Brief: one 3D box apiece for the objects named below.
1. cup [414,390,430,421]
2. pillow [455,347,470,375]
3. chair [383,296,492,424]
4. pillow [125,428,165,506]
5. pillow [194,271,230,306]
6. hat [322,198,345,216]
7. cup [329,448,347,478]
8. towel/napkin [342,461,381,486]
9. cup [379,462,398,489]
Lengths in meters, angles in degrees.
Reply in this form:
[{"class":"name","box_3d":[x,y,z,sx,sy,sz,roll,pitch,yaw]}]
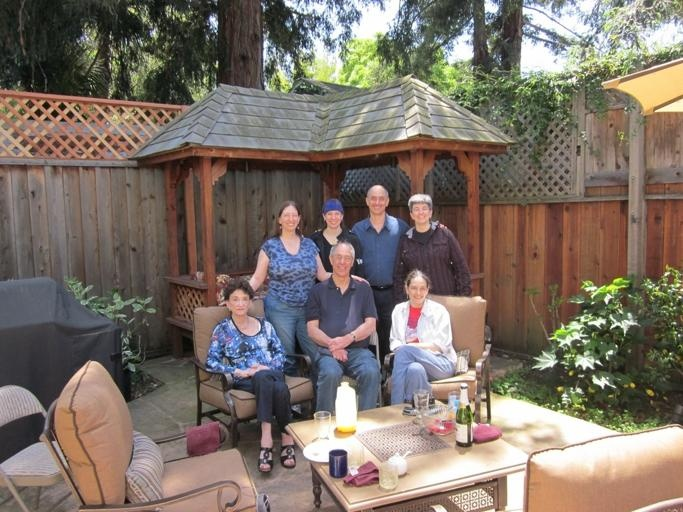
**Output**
[{"class":"cup","box_3d":[0.621,1.164,4.635,0.108,0.198,0.184,2,7,16]},{"class":"pillow","box_3d":[1.165,1.017,5.737,0.144,0.278,0.079,1,-28,6]},{"class":"chair","box_3d":[1.095,1.008,5.801,0.783,1.107,0.846,3,13,5]},{"class":"pillow","box_3d":[-1.332,1.450,4.046,0.124,0.181,0.607,-27,10,-9]},{"class":"pillow","box_3d":[-1.554,0.382,7.599,0.506,0.201,0.522,7,10,37]},{"class":"hat","box_3d":[-0.077,-0.516,6.329,0.174,0.161,0.190,-1,1,21]},{"class":"cup","box_3d":[-0.028,1.433,4.153,0.126,0.167,0.146,1,12,-3]},{"class":"towel/napkin","box_3d":[0.134,1.504,4.108,0.242,0.104,0.157,-3,4,0]},{"class":"cup","box_3d":[0.311,1.483,4.075,0.131,0.163,0.136,-2,3,0]}]
